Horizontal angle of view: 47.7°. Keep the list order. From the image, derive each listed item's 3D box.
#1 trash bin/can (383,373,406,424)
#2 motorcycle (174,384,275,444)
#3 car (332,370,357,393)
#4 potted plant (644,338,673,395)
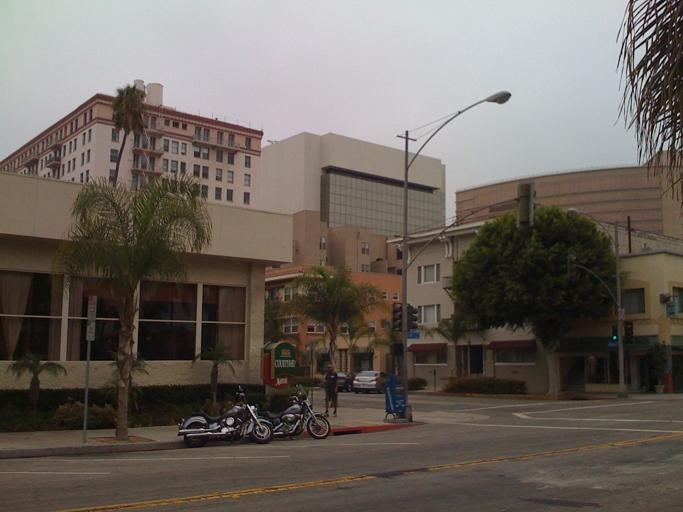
[{"bbox_3d":[2.028,5.407,29.300,0.751,1.580,0.606,-3,-20,8],"label":"trash bin/can"},{"bbox_3d":[-3.419,4.842,23.080,2.690,1.830,1.393,1,-20,-13],"label":"motorcycle"},{"bbox_3d":[0.055,8.648,52.614,1.289,1.247,3.305,-1,-4,26],"label":"car"},{"bbox_3d":[19.090,6.393,46.120,1.348,2.841,1.434,-3,2,13],"label":"potted plant"}]
